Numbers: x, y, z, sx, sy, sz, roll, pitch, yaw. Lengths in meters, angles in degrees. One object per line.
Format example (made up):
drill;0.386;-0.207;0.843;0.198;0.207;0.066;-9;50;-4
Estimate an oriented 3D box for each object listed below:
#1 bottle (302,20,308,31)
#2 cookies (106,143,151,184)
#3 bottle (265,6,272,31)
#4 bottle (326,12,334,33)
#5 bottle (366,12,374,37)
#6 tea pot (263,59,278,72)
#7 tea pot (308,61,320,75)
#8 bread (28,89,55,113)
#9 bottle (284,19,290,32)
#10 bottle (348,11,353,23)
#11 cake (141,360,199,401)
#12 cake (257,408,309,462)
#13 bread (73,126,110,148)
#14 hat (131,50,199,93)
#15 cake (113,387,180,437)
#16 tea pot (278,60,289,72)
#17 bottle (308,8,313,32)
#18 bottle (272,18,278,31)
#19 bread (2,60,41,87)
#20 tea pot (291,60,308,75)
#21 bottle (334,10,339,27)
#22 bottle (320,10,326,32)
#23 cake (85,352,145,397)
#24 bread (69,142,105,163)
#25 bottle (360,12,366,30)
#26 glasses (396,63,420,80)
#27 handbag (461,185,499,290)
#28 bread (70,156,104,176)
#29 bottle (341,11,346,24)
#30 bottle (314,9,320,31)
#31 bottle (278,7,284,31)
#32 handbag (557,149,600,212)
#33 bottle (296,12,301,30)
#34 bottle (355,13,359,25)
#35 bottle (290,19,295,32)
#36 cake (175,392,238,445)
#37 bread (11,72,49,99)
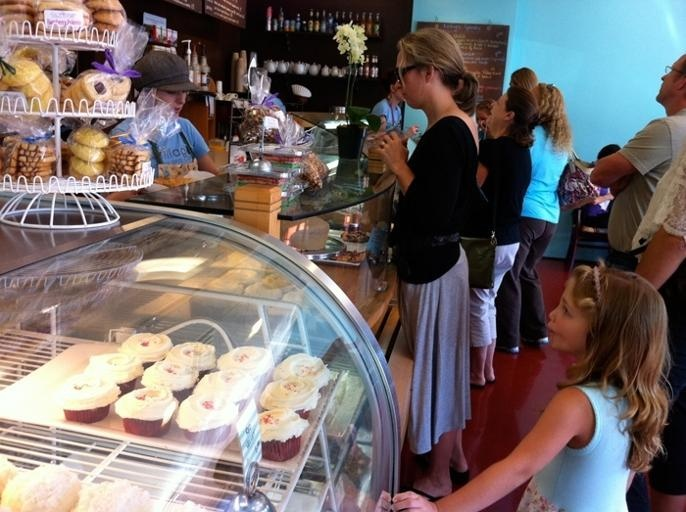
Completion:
bottle;-0.544;-3.258;6.729;0.081;0.131;0.097;3;20;-5
cookies;-0.592;-0.257;1.310;0.099;0.085;0.130;-9;25;-34
bottle;-1.048;-3.410;6.828;0.084;0.325;0.136;1;20;-12
bottle;-0.172;-3.292;6.712;0.090;0.268;0.192;3;20;-6
bottle;0.379;-3.227;6.611;0.096;0.328;0.195;5;20;0
tea pot;-1.032;-2.699;6.787;0.198;0.173;0.206;5;20;-2
tea pot;-0.402;-2.666;6.791;0.167;0.167;0.222;7;20;5
bread;-0.753;-0.387;1.189;0.020;0.066;0.067;10;20;33
bottle;-0.789;-3.276;6.757;0.086;0.156;0.129;-2;21;-19
bottle;0.116;-3.393;6.703;0.051;0.115;0.105;-3;22;-21
cake;-0.350;0.244;0.963;0.080;0.053;0.079;14;16;-38
cake;-0.131;0.384;1.022;0.092;0.068;0.102;0;2;1
bread;-0.701;-0.328;1.318;0.072;0.026;0.080;6;23;-26
hat;-1.113;-1.156;2.965;0.326;0.241;0.365;-5;22;-24
cake;-0.371;0.278;0.891;0.078;0.048;0.078;-1;27;-20
tea pot;-0.846;-2.697;6.819;0.170;0.150;0.125;8;-5;-17
bottle;-0.452;-3.341;6.731;0.084;0.306;0.222;3;20;-6
bottle;-0.971;-3.322;6.822;0.066;0.167;0.089;0;21;-13
bread;-0.795;-0.461;1.193;0.081;0.080;0.026;-22;-10;-29
tea pot;-0.611;-2.668;6.724;0.205;0.147;0.165;5;19;4
bottle;-0.071;-3.371;6.721;0.067;0.176;0.112;4;20;-4
bottle;-0.274;-3.316;6.709;0.081;0.315;0.233;3;20;-5
cake;-0.445;0.223;0.937;0.078;0.052;0.078;6;12;0
bread;-0.702;-0.282;1.302;0.087;0.046;0.031;6;20;1
bottle;0.291;-3.263;6.599;0.085;0.253;0.240;4;20;-3
glasses;0.266;-0.791;2.043;0.065;0.064;0.205;2;21;-9
handbag;0.784;-0.126;2.760;0.077;0.593;0.324;6;0;-29
bread;-0.707;-0.242;1.300;0.065;0.030;0.065;3;1;1
bottle;0.022;-3.390;6.742;0.077;0.149;0.053;1;20;-10
bottle;-0.362;-3.335;6.732;0.082;0.278;0.196;3;20;-6
bottle;-0.886;-3.392;6.806;0.078;0.313;0.176;1;20;-10
handbag;1.968;-0.662;3.917;0.418;0.482;0.270;-25;20;-33
bottle;-0.627;-3.334;6.780;0.079;0.234;0.176;2;20;-8
bottle;0.208;-3.334;6.679;0.065;0.151;0.115;-1;21;-16
bottle;-0.718;-3.274;6.756;0.079;0.160;0.118;3;20;-6
cake;-0.262;0.310;0.908;0.083;0.046;0.083;5;15;2
bread;-0.772;-0.423;1.190;0.070;0.032;0.070;-2;33;-1
